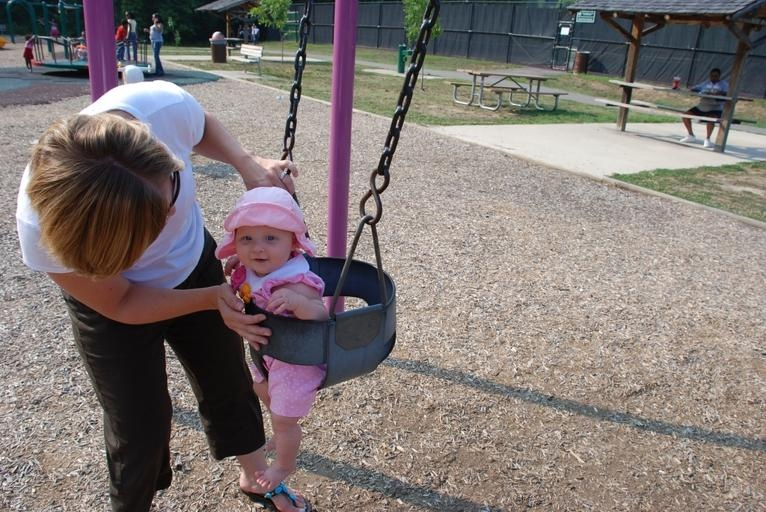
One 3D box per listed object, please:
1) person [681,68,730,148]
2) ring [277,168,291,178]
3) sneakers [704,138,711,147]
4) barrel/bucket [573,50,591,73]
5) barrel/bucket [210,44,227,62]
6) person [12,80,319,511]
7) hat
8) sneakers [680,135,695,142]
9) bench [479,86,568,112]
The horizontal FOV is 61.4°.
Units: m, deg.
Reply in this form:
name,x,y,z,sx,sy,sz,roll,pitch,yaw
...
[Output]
name,x,y,z,sx,sy,sz,roll,pitch,yaw
person,5.977,-2.785,11.965,0.619,1.278,2.196,16,24,21
ring,-0.482,-0.400,3.130,0.054,0.017,0.040,-10,7,36
sneakers,5.761,-1.988,11.468,0.104,0.118,0.296,-12,27,33
barrel/bucket,7.411,-7.217,24.060,0.536,0.741,0.883,14,24,18
barrel/bucket,-5.167,-6.381,20.327,0.386,0.564,0.250,-8,28,-30
person,-1.011,0.300,2.898,0.987,2.030,0.731,-7,27,-28
hat,-0.529,-0.149,2.923,0.426,0.271,0.421,-5,13,-28
sneakers,5.582,-2.141,11.801,0.243,0.122,0.457,15,23,21
bench,3.279,-3.685,15.277,1.495,0.305,0.933,-14,25,-34
